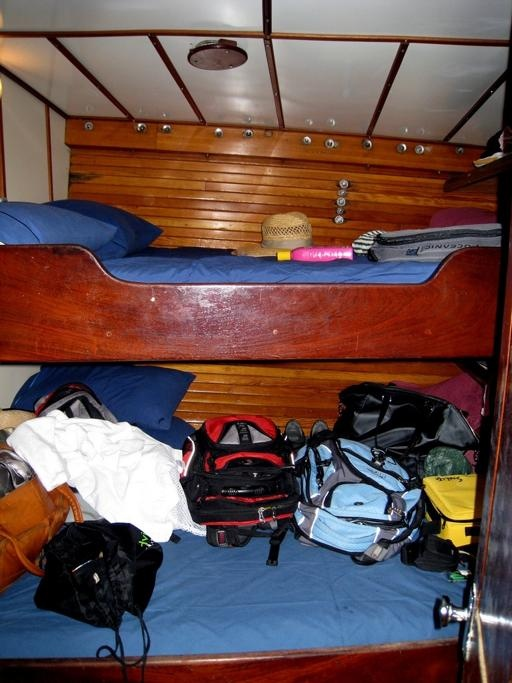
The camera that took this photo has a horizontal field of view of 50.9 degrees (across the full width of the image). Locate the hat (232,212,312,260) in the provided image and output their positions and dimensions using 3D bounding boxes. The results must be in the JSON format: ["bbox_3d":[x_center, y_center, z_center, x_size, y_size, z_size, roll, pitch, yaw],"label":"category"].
[{"bbox_3d":[0.089,-0.425,2.175,0.314,0.129,0.232,-6,17,12],"label":"hat"}]

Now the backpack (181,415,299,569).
[{"bbox_3d":[-0.047,0.533,2.039,0.403,0.218,0.614,2,41,-15],"label":"backpack"}]

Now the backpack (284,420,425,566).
[{"bbox_3d":[0.325,0.522,2.027,0.516,0.248,0.601,-7,30,-24],"label":"backpack"}]

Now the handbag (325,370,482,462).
[{"bbox_3d":[0.519,0.367,2.583,0.888,0.297,0.674,2,7,-30],"label":"handbag"}]
